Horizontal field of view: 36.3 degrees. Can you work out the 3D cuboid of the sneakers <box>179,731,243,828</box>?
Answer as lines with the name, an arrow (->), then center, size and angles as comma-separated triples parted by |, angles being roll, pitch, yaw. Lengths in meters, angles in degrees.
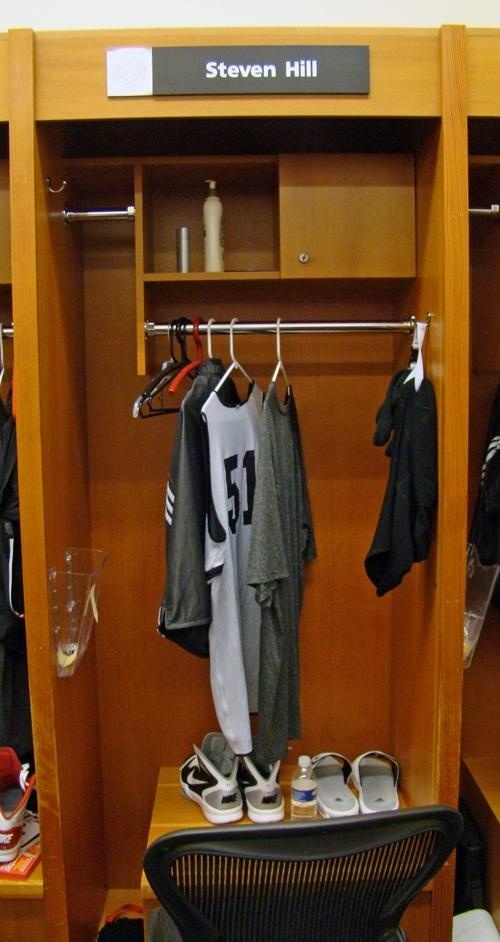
sneakers -> -0.091, 0.728, 1.796 | 0.076, 0.124, 0.235 | -1, 0, -6

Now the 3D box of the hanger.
hanger -> -0.051, -0.231, 1.703 | 0.510, 0.246, 0.182 | 0, 0, 1

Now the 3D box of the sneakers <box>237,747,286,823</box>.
sneakers -> 0.024, 0.735, 1.851 | 0.076, 0.188, 0.264 | -1, 0, -2
